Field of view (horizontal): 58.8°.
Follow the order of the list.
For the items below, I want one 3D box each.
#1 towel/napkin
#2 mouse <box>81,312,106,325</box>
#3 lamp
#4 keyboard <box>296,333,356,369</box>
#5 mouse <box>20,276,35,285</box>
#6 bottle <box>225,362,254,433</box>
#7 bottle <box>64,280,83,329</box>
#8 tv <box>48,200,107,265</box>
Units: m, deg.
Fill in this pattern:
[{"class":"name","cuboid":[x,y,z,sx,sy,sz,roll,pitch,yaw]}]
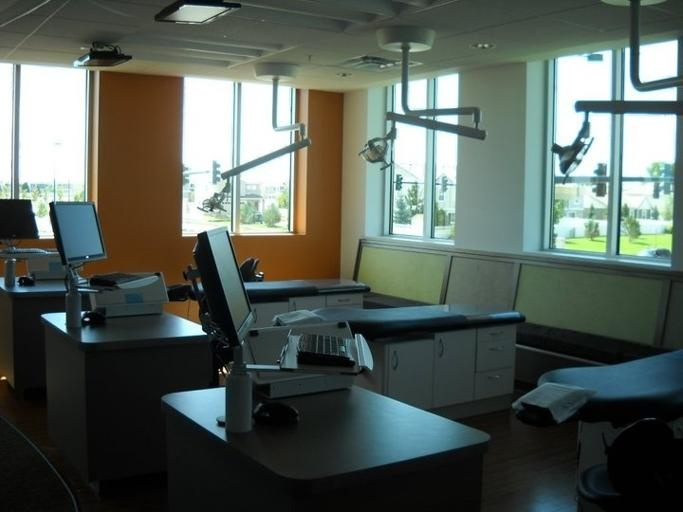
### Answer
[{"class":"towel/napkin","cuboid":[0.967,0.701,2.852,0.242,0.058,0.242,-1,15,43]},{"class":"mouse","cuboid":[-1.592,0.401,3.882,0.135,0.077,0.142,-6,9,-19]},{"class":"lamp","cuboid":[0.864,-1.326,5.471,4.223,1.371,1.909,5,12,39]},{"class":"keyboard","cuboid":[-0.059,0.417,2.650,0.263,0.063,0.271,6,10,-2]},{"class":"mouse","cuboid":[-2.753,0.224,5.282,0.079,0.041,0.108,0,14,-28]},{"class":"bottle","cuboid":[-0.391,0.540,2.321,0.159,0.243,0.156,1,2,0]},{"class":"bottle","cuboid":[-1.658,0.298,3.718,0.095,0.305,0.139,-7,10,-26]},{"class":"tv","cuboid":[-1.642,-0.166,3.859,0.555,0.390,0.068,-1,10,41]}]
